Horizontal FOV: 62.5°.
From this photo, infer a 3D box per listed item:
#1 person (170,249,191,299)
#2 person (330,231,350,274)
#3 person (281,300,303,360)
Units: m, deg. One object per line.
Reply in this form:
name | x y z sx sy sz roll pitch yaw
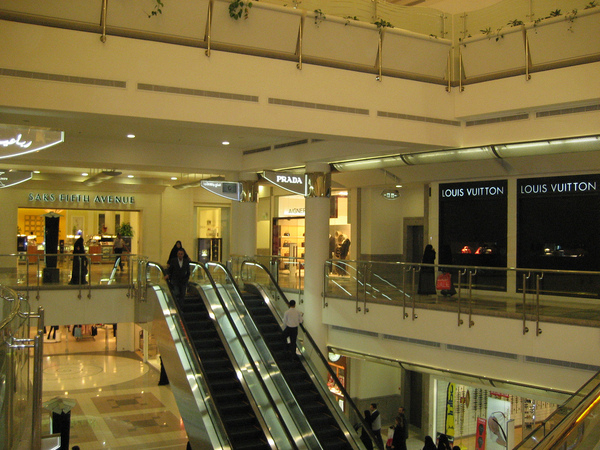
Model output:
person | -3.305 1.292 13.436 0.468 0.972 1.024 0 0 17
person | 1.333 0.979 17.466 0.909 1.770 0.917 4 -3 -4
person | -0.256 2.568 12.429 0.486 1.394 0.911 0 0 -17
